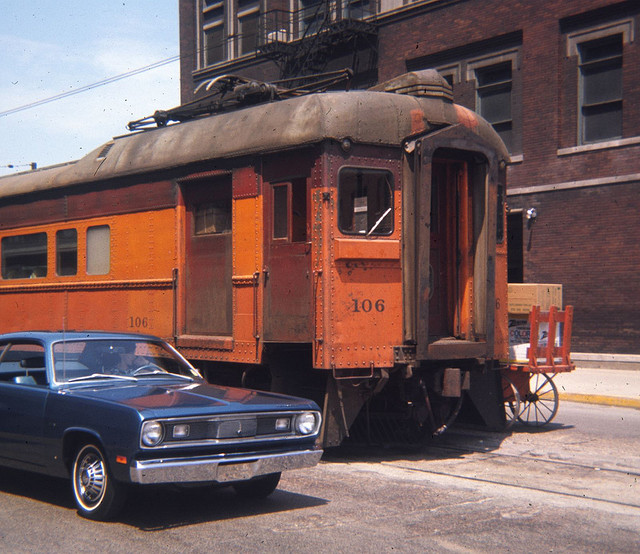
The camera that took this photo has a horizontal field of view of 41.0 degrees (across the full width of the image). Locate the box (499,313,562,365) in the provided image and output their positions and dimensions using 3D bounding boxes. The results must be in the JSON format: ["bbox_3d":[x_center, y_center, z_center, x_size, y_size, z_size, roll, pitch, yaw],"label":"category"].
[{"bbox_3d":[3.175,0.958,12.861,0.933,0.753,0.839,1,1,12],"label":"box"}]

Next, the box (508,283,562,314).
[{"bbox_3d":[3.343,0.352,13.444,0.594,0.454,1.167,1,0,39],"label":"box"}]

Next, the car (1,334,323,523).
[{"bbox_3d":[-2.057,1.395,8.613,1.632,1.130,3.003,3,-5,-41],"label":"car"}]
